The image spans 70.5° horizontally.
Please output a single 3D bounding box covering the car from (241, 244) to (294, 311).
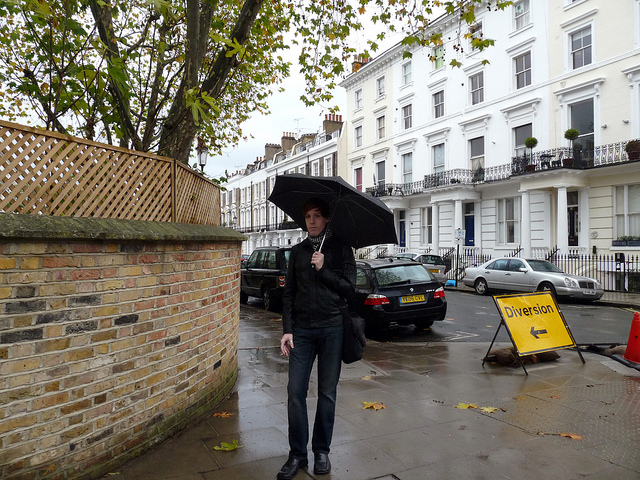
[{"bbox_3d":[-1.485,1.209,15.434,1.539,1.641,3.193,4,-1,-28],"label":"car"}]

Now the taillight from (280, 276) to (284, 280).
[{"bbox_3d":[-1.188,1.147,13.775,0.112,0.100,0.129,1,-1,-7],"label":"taillight"}]

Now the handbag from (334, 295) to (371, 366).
[{"bbox_3d":[0.290,0.939,4.736,0.339,0.699,0.548,-7,-11,2],"label":"handbag"}]

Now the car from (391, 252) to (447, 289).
[{"bbox_3d":[4.806,1.672,21.913,1.772,1.626,3.531,2,1,-27],"label":"car"}]

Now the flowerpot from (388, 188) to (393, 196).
[{"bbox_3d":[4.910,-3.378,32.077,0.379,0.603,0.400,0,-6,1],"label":"flowerpot"}]

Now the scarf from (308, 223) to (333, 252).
[{"bbox_3d":[-0.005,-0.005,4.555,0.195,0.289,0.154,0,-10,5],"label":"scarf"}]

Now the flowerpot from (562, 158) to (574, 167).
[{"bbox_3d":[11.037,-3.421,20.153,0.460,0.411,0.311,0,1,17],"label":"flowerpot"}]

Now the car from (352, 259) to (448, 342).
[{"bbox_3d":[1.646,1.292,10.092,1.306,1.105,2.928,0,-2,-14],"label":"car"}]

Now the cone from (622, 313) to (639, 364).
[{"bbox_3d":[5.343,1.644,7.745,0.170,0.844,0.351,0,1,7],"label":"cone"}]

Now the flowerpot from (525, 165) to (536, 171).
[{"bbox_3d":[10.064,-3.435,21.683,0.442,0.331,0.395,0,1,27],"label":"flowerpot"}]
